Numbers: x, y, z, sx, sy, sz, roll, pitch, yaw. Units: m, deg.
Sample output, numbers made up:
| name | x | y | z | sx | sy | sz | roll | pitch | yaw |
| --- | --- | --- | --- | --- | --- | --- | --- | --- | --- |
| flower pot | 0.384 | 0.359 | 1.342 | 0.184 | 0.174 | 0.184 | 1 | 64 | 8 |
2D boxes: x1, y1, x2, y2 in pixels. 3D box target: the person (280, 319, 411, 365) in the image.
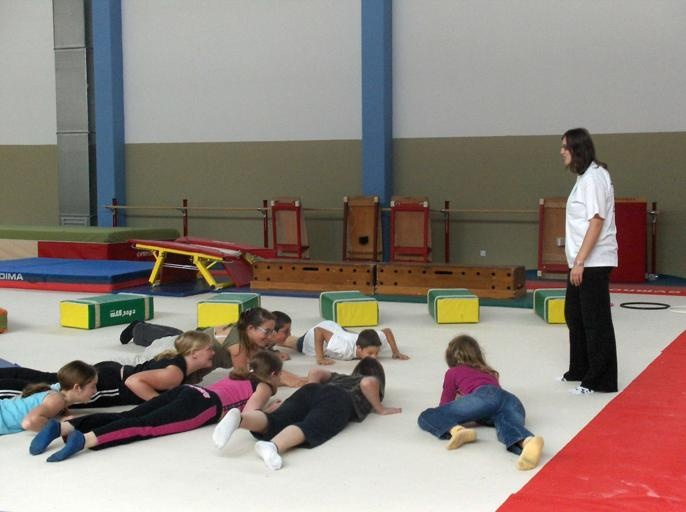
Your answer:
| name | x | y | z | sx | sy | sz | roll | pitch | yaw |
| --- | --- | --- | --- | --- | --- | --- | --- | --- | --- |
| person | -0.031 | 0.703 | 6.006 | 0.746 | 0.219 | 0.469 | 6 | 3 | 44 |

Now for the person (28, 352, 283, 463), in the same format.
| name | x | y | z | sx | sy | sz | roll | pitch | yaw |
| --- | --- | --- | --- | --- | --- | --- | --- | --- | --- |
| person | -1.118 | 0.973 | 4.546 | 1.484 | 0.444 | 0.581 | -3 | 13 | -36 |

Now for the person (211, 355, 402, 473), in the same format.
| name | x | y | z | sx | sy | sz | roll | pitch | yaw |
| --- | --- | --- | --- | --- | --- | --- | --- | --- | --- |
| person | -0.212 | 0.947 | 4.597 | 0.406 | 0.371 | 1.410 | 10 | 15 | 44 |

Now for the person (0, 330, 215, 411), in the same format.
| name | x | y | z | sx | sy | sz | roll | pitch | yaw |
| --- | --- | --- | --- | --- | --- | --- | --- | --- | --- |
| person | -1.598 | 0.680 | 4.894 | 1.321 | 0.566 | 0.573 | 6 | 18 | -26 |

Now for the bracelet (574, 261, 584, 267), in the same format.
| name | x | y | z | sx | sy | sz | roll | pitch | yaw |
| --- | --- | --- | --- | --- | --- | --- | --- | --- | --- |
| bracelet | 1.659 | 0.052 | 5.148 | 0.058 | 0.043 | 0.027 | 2 | 11 | 13 |

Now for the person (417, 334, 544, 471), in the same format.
| name | x | y | z | sx | sy | sz | roll | pitch | yaw |
| --- | --- | --- | --- | --- | --- | --- | --- | --- | --- |
| person | 0.872 | 0.868 | 4.512 | 0.546 | 0.555 | 0.869 | -7 | 13 | -30 |

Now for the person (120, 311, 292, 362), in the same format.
| name | x | y | z | sx | sy | sz | roll | pitch | yaw |
| --- | --- | --- | --- | --- | --- | --- | --- | --- | --- |
| person | -1.063 | 0.577 | 5.531 | 1.008 | 0.422 | 0.599 | 7 | 5 | 1 |

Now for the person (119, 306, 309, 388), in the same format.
| name | x | y | z | sx | sy | sz | roll | pitch | yaw |
| --- | --- | --- | --- | --- | --- | --- | --- | --- | --- |
| person | -1.020 | 0.579 | 5.565 | 1.358 | 0.591 | 0.574 | 13 | 9 | 12 |

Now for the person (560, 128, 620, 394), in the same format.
| name | x | y | z | sx | sy | sz | roll | pitch | yaw |
| --- | --- | --- | --- | --- | --- | --- | --- | --- | --- |
| person | 1.784 | 0.029 | 5.270 | 0.410 | 1.858 | 0.485 | 0 | 11 | 3 |
